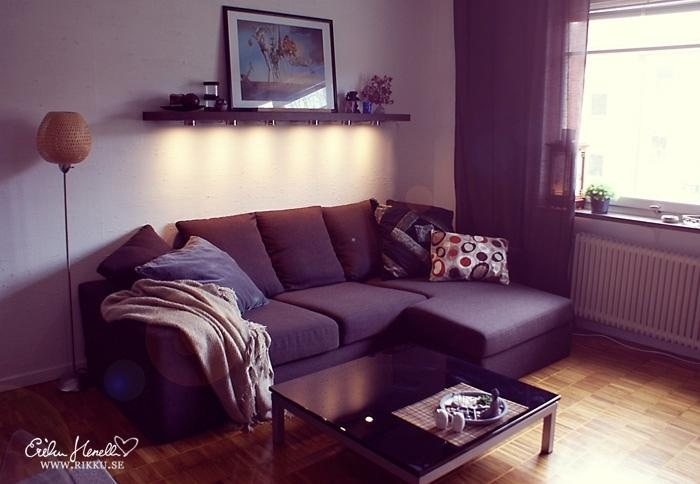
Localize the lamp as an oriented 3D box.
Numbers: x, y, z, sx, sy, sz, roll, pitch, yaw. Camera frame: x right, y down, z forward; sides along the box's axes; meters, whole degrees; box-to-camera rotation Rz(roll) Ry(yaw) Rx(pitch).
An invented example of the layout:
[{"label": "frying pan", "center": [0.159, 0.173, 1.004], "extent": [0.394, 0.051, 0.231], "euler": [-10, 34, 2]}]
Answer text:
[{"label": "lamp", "center": [-1.911, 0.023, 3.434], "extent": [0.362, 1.706, 0.334], "euler": [1, 2, 39]}]

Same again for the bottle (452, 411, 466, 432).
[{"label": "bottle", "center": [0.549, 0.917, 2.568], "extent": [0.066, 0.078, 0.089], "euler": [-2, -8, 24]}]

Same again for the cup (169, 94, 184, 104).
[{"label": "cup", "center": [-1.281, -1.059, 3.747], "extent": [0.086, 0.080, 0.045], "euler": [-1, 19, -6]}]

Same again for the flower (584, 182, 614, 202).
[{"label": "flower", "center": [2.142, -0.421, 4.328], "extent": [0.224, 0.129, 0.092], "euler": [6, 17, 25]}]

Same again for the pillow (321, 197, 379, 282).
[{"label": "pillow", "center": [0.045, -0.025, 4.400], "extent": [0.619, 0.601, 0.185], "euler": [-13, -9, -46]}]

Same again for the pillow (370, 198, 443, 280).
[{"label": "pillow", "center": [0.488, -0.028, 4.337], "extent": [0.597, 0.555, 0.176], "euler": [-2, -11, -15]}]

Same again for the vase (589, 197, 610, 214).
[{"label": "vase", "center": [2.136, -0.305, 4.343], "extent": [0.139, 0.131, 0.156], "euler": [2, -1, -44]}]

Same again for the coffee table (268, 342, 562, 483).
[{"label": "coffee table", "center": [0.352, 1.037, 2.990], "extent": [1.221, 0.448, 1.196], "euler": [-15, 20, -39]}]

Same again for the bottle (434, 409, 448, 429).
[{"label": "bottle", "center": [0.468, 0.905, 2.603], "extent": [0.065, 0.079, 0.086], "euler": [-1, 7, -21]}]

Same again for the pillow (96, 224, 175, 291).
[{"label": "pillow", "center": [-1.493, 0.085, 3.537], "extent": [0.436, 0.128, 0.410], "euler": [31, 49, 18]}]

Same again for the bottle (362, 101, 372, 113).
[{"label": "bottle", "center": [0.162, -1.243, 4.667], "extent": [0.027, 0.099, 0.110], "euler": [3, 4, 37]}]

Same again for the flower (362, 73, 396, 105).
[{"label": "flower", "center": [0.265, -1.391, 4.774], "extent": [0.319, 0.301, 0.322], "euler": [6, 9, 24]}]

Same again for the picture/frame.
[{"label": "picture/frame", "center": [-0.619, -1.536, 4.222], "extent": [1.150, 0.797, 0.052], "euler": [-5, 8, -35]}]

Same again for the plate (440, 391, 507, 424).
[{"label": "plate", "center": [0.674, 0.890, 2.734], "extent": [0.210, 0.026, 0.204], "euler": [-5, 9, -22]}]

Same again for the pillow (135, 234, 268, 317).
[{"label": "pillow", "center": [-1.172, 0.181, 3.556], "extent": [0.678, 0.165, 0.681], "euler": [-11, 18, -33]}]

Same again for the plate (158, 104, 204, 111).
[{"label": "plate", "center": [-1.237, -0.992, 3.758], "extent": [0.297, 0.048, 0.102], "euler": [-6, 16, -16]}]
